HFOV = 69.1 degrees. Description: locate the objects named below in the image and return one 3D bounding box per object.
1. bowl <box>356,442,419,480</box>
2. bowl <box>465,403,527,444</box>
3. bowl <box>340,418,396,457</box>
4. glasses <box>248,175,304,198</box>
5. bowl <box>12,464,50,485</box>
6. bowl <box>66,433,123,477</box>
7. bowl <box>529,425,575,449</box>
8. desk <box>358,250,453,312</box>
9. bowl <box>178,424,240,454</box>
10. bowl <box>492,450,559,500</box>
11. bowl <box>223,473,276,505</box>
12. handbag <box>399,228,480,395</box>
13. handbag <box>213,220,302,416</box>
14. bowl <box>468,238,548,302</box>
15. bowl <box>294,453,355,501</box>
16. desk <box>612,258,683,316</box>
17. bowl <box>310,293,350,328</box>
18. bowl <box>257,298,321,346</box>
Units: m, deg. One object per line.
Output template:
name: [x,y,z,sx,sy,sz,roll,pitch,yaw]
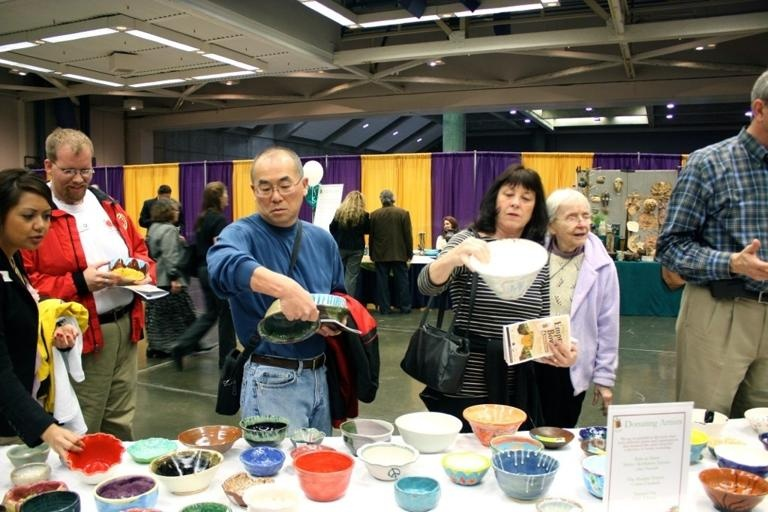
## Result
bowl: [0.011,0.797,2.154,0.248,0.086,0.238,-2,1,0]
bowl: [0.476,0.746,2.403,0.262,0.111,0.247,5,-1,0]
bowl: [-0.068,0.761,2.329,0.213,0.116,0.199,-1,2,0]
glasses: [-0.467,-0.312,2.472,0.237,0.104,0.120,2,6,-13]
bowl: [-1.337,0.824,2.094,0.129,0.066,0.078,1,6,-21]
bowl: [-1.133,0.805,2.173,0.202,0.102,0.190,5,25,-2]
bowl: [0.708,0.744,2.359,0.115,0.038,0.111,-2,4,0]
desk: [0.111,0.471,9.072,1.283,0.749,0.871,0,-2,7]
bowl: [-0.713,0.779,2.303,0.144,0.049,0.142,1,11,0]
bowl: [0.538,0.824,2.091,0.227,0.104,0.219,-1,7,0]
bowl: [-0.525,0.839,2.032,0.116,0.044,0.115,3,13,-1]
handbag: [0.279,0.392,2.825,0.344,0.638,0.373,5,6,9]
handbag: [-0.711,0.302,2.658,0.229,0.839,0.511,17,-2,8]
bowl: [0.537,0.048,2.456,0.329,0.139,0.296,0,29,7]
bowl: [-0.233,0.823,2.100,0.230,0.123,0.203,3,6,1]
desk: [3.775,0.498,8.564,1.398,0.950,1.363,0,0,22]
bowl: [-0.203,0.232,2.346,0.104,0.155,0.245,8,7,33]
bowl: [-0.397,0.274,2.316,0.216,0.233,0.247,0,7,-32]
